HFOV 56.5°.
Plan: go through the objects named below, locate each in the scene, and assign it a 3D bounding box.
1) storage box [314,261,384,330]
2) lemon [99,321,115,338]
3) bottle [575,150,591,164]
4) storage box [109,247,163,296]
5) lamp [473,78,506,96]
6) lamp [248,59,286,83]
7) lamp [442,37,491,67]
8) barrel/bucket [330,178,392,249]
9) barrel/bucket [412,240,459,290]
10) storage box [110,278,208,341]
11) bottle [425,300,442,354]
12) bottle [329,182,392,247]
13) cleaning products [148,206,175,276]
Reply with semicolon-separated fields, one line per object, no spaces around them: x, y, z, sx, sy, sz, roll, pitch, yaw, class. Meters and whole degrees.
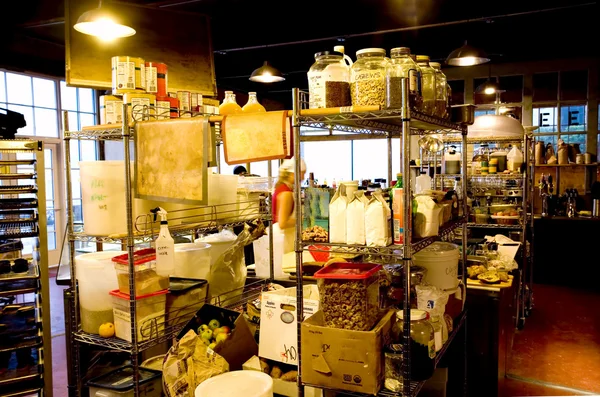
0.333;0.637;4.047;0.436;0.491;0.465;-2;3;-14;storage box
-1.481;1.016;4.299;0.107;0.102;0.107;6;-2;-6;lemon
4.979;-0.697;9.856;0.223;0.186;0.103;0;4;25;bottle
-1.262;0.564;4.361;0.337;0.214;0.344;-2;-2;43;storage box
3.230;-1.882;9.439;0.606;0.267;0.589;-2;5;-19;lamp
-0.508;-2.027;8.809;0.702;0.427;0.686;0;2;-6;lamp
2.119;-1.835;7.343;0.523;0.301;0.537;2;4;45;lamp
0.423;0.114;3.864;0.408;0.398;0.419;1;1;0;barrel/bucket
1.119;0.506;4.504;0.424;0.388;0.345;1;-4;-15;barrel/bucket
-1.063;0.862;4.391;0.434;0.296;0.629;0;3;31;storage box
1.014;0.958;4.170;0.098;0.286;0.296;-7;2;19;bottle
0.409;0.102;3.853;0.406;0.400;0.423;1;1;22;bottle
-1.087;0.383;4.505;0.150;0.532;0.144;-4;-9;4;cleaning products
